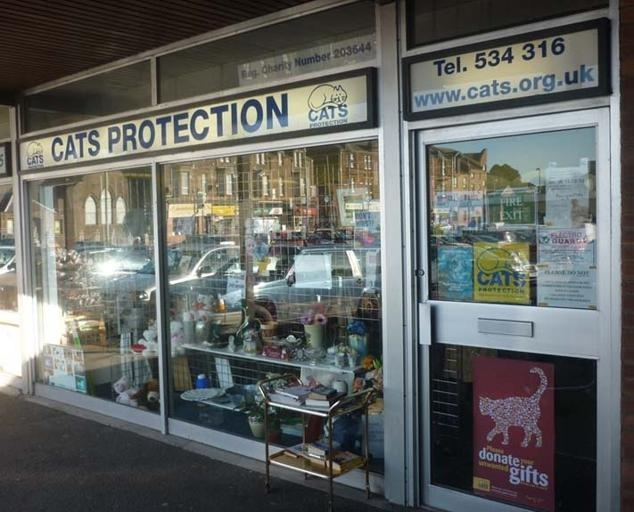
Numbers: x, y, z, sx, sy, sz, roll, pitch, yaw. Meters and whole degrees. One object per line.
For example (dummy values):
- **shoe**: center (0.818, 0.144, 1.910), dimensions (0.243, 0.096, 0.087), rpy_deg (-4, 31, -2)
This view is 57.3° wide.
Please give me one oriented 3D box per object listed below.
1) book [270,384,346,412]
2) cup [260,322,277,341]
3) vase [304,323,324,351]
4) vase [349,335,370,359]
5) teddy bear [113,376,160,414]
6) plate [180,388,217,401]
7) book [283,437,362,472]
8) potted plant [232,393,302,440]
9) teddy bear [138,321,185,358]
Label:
- **book**: center (-0.051, 1.064, 4.338), dimensions (0.279, 0.065, 0.252), rpy_deg (4, 4, 25)
- **cup**: center (-0.421, 0.647, 4.983), dimensions (0.160, 0.146, 0.148), rpy_deg (0, -2, 0)
- **vase**: center (-0.023, 0.655, 4.711), dimensions (0.201, 0.209, 0.183), rpy_deg (2, 3, 10)
- **vase**: center (0.323, 0.686, 4.458), dimensions (0.174, 0.252, 0.154), rpy_deg (0, 4, 12)
- **teddy bear**: center (-1.834, 1.401, 5.834), dimensions (0.474, 0.243, 0.301), rpy_deg (-1, 0, 44)
- **plate**: center (-1.094, 1.290, 5.383), dimensions (0.225, 0.040, 0.170), rpy_deg (-5, 1, -5)
- **book**: center (0.051, 1.482, 4.284), dimensions (0.373, 0.105, 0.269), rpy_deg (8, 7, 42)
- **potted plant**: center (-0.412, 1.345, 4.929), dimensions (0.422, 0.220, 0.388), rpy_deg (-2, -12, 15)
- **teddy bear**: center (-1.542, 0.817, 5.673), dimensions (0.471, 0.430, 0.299), rpy_deg (-3, -4, 14)
